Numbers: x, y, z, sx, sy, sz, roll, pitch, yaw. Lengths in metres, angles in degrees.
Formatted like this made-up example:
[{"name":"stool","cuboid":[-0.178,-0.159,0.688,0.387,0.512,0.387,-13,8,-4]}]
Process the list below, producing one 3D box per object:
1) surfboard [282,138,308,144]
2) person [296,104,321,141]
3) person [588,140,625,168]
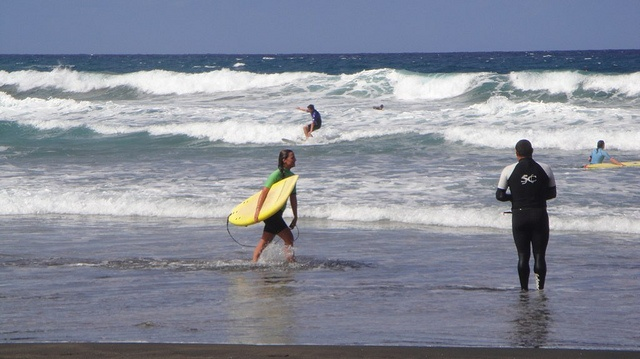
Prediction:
[{"name":"surfboard","cuboid":[-1.092,-1.790,56.036,0.976,0.237,1.277,-1,4,-20]},{"name":"person","cuboid":[-0.362,-2.696,56.470,0.778,1.553,0.747,2,6,10]},{"name":"person","cuboid":[12.190,-1.064,51.706,1.105,1.376,1.065,-2,28,-41]}]
